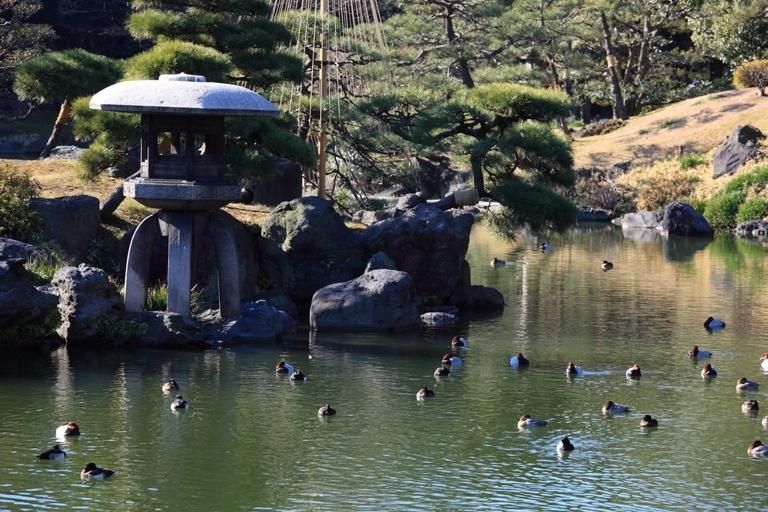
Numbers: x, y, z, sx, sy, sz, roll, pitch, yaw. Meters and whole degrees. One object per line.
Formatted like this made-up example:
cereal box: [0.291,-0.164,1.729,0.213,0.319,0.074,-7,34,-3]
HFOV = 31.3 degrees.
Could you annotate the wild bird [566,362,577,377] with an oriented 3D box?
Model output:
wild bird: [6.607,3.945,47.682,0.280,0.346,0.500,0,2,7]

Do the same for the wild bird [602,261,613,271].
wild bird: [10.742,0.473,65.232,0.581,0.437,1.391,-2,0,8]

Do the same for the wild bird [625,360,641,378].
wild bird: [8.749,3.939,47.503,0.363,0.392,0.554,7,15,18]

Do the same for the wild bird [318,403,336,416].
wild bird: [-1.794,5.002,44.602,0.307,0.361,0.523,1,0,-1]
